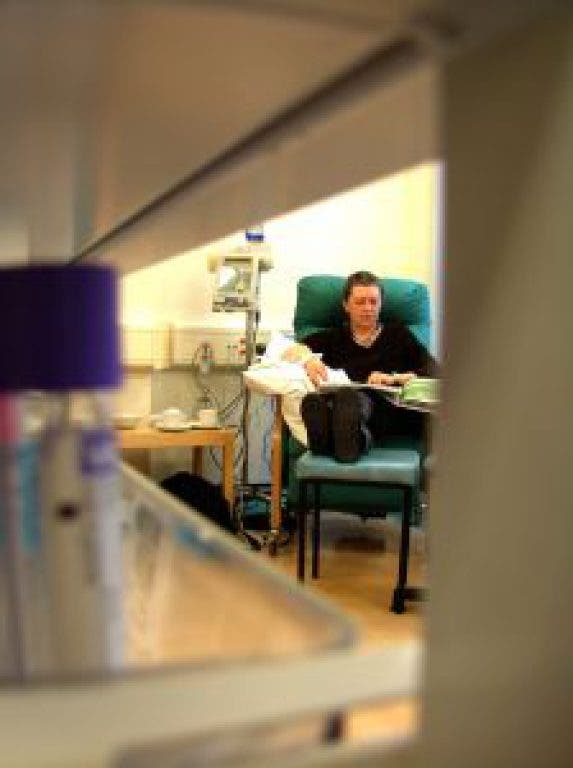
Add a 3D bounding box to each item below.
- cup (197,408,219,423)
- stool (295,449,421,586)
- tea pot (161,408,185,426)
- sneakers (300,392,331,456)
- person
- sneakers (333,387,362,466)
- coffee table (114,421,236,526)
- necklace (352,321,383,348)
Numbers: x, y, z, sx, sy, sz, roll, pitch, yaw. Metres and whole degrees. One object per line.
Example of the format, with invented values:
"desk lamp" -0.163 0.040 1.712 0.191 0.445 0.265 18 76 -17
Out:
"cup" -0.294 0.116 2.232 0.049 0.042 0.062 -2 -10 -7
"stool" 0.198 0.386 1.690 0.348 0.345 0.334 9 -16 -7
"tea pot" -0.395 0.115 2.101 0.068 0.047 0.049 0 1 -10
"sneakers" 0.087 0.110 1.778 0.073 0.190 0.077 -1 2 14
"person" 0.250 -0.090 2.148 0.521 0.592 1.058 0 6 15
"sneakers" 0.161 0.110 1.641 0.074 0.190 0.077 -1 -12 10
"coffee table" -0.453 0.284 2.150 0.339 0.219 0.233 0 -4 -17
"necklace" 0.322 -0.191 2.410 0.083 0.101 0.044 3 -8 4
